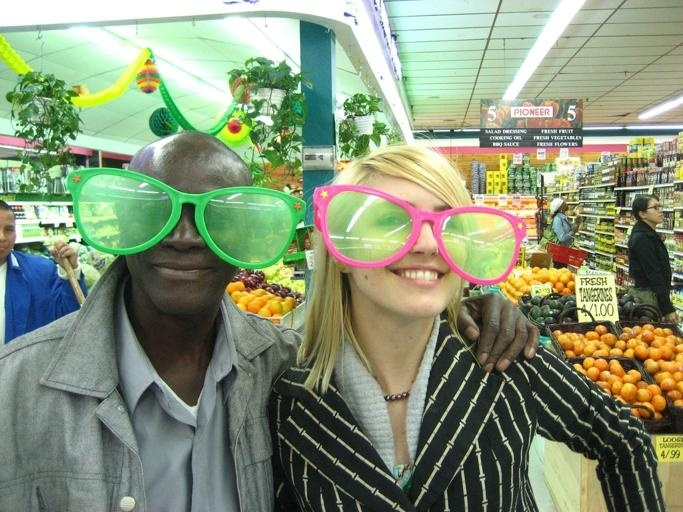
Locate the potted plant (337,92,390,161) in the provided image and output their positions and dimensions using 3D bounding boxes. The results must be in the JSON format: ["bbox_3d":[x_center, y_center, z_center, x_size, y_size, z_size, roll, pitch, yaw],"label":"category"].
[{"bbox_3d":[0.230,-1.320,5.682,0.462,0.627,0.478,-10,19,-10],"label":"potted plant"}]

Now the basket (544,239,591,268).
[{"bbox_3d":[2.666,-0.064,6.538,0.365,0.227,0.523,20,-1,-2],"label":"basket"}]

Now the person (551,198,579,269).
[{"bbox_3d":[3.841,-0.143,9.518,0.519,1.660,0.613,3,19,17],"label":"person"}]

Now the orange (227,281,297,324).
[{"bbox_3d":[-0.621,0.276,4.205,0.414,0.145,0.429,15,3,14],"label":"orange"}]

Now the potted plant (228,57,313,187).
[{"bbox_3d":[-0.593,-1.163,4.544,0.634,1.203,0.698,-3,21,-19],"label":"potted plant"}]
